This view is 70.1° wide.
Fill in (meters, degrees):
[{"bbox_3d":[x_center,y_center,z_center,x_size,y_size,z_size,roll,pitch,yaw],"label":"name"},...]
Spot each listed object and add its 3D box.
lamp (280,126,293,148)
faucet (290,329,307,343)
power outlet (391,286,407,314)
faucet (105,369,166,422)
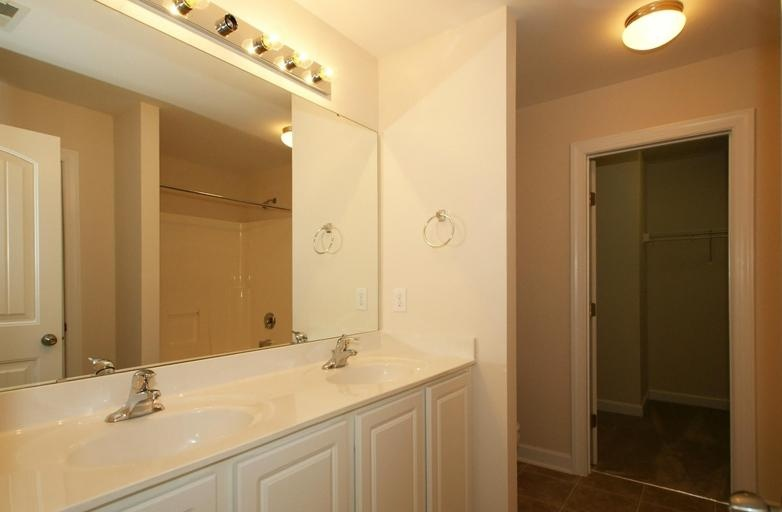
[{"bbox_3d":[-0.619,-0.719,3.343,0.103,0.099,0.103,-2,-14,-11],"label":"lamp"},{"bbox_3d":[-0.546,0.473,3.312,0.079,0.079,0.063,-8,-4,-3],"label":"faucet"},{"bbox_3d":[0.059,0.286,3.671,0.173,0.237,0.020,-3,-5,40],"label":"power outlet"},{"bbox_3d":[-1.238,0.669,2.679,0.221,0.193,0.089,3,-7,-38],"label":"faucet"}]
